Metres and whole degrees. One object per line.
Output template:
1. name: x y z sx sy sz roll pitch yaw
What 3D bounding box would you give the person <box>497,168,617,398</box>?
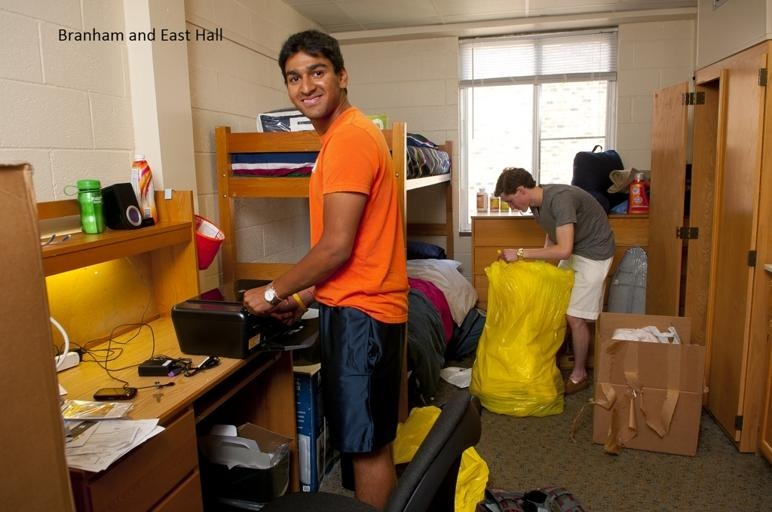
1. person: 1.142 0.140 3.785 0.714 1.461 0.541 3 13 21

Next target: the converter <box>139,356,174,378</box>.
1. converter: -0.914 0.444 2.253 0.104 0.042 0.074 0 9 -7

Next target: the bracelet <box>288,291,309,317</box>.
1. bracelet: -0.372 0.206 2.463 0.100 0.112 0.126 -8 -11 -6

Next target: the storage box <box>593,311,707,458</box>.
1. storage box: 1.421 0.711 3.327 0.785 0.764 0.699 3 5 16

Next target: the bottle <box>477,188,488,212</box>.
1. bottle: 0.874 -0.495 5.016 0.089 0.188 0.104 4 14 25

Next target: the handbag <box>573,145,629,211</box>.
1. handbag: 1.818 -0.677 4.811 0.517 0.509 0.153 0 -3 -22

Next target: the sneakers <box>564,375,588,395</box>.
1. sneakers: 1.261 0.854 3.738 0.182 0.071 0.077 -28 -4 -12

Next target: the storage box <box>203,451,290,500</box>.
1. storage box: -0.623 1.022 2.612 0.315 0.192 0.312 0 0 8
